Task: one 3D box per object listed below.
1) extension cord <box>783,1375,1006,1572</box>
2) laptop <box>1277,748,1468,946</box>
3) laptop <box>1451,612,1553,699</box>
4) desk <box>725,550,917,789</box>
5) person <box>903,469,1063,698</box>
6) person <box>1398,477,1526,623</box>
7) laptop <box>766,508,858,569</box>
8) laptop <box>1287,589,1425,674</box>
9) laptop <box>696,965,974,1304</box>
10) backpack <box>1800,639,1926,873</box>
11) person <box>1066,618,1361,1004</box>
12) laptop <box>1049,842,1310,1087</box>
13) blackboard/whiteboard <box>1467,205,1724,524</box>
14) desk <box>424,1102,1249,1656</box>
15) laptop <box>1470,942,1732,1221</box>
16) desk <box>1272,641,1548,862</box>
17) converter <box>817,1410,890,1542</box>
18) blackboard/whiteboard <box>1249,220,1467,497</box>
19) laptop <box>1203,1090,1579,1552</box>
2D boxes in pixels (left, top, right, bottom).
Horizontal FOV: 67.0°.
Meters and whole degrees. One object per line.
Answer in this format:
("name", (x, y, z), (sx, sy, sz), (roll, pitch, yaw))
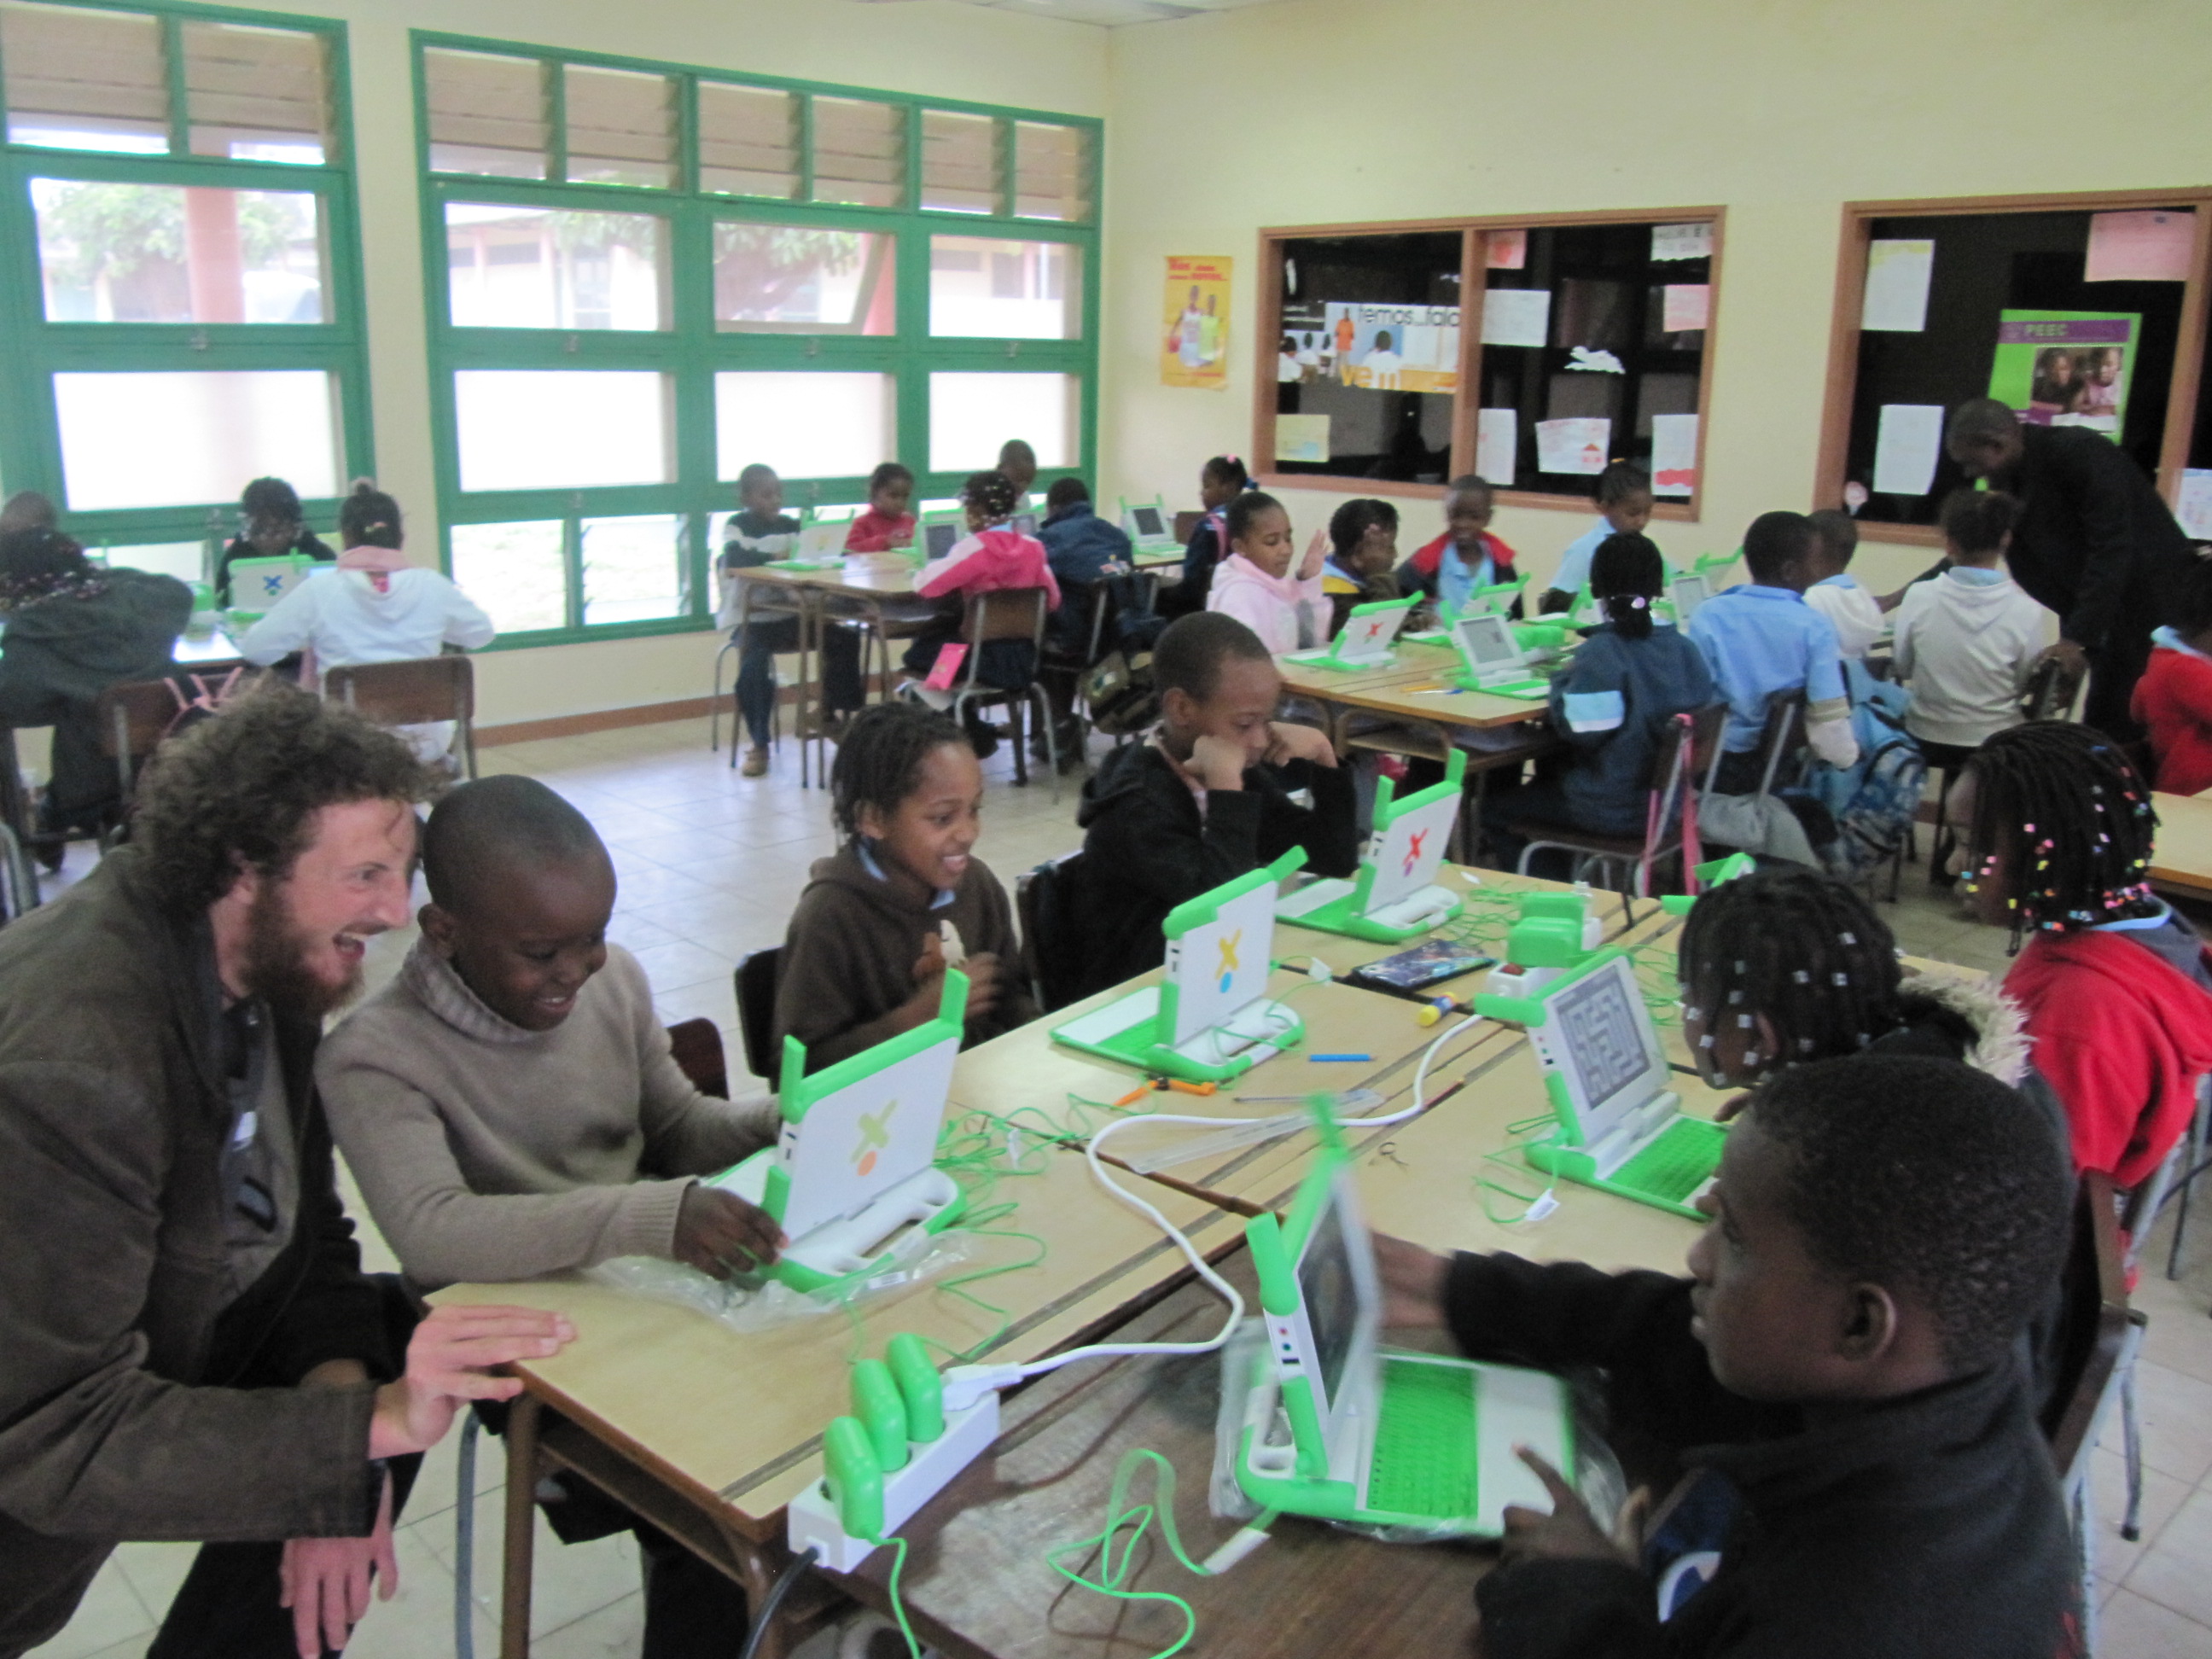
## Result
("extension cord", (-0.211, 0.628, 1.654), (0.106, 0.044, 0.195), (9, 18, 32))
("laptop", (0.568, 0.044, 3.099), (0.342, 0.364, 0.373), (13, 26, 38))
("laptop", (1.244, -0.542, 5.284), (0.291, 0.198, 0.333), (20, 24, 39))
("desk", (-1.201, -0.704, 7.221), (0.619, 0.525, 0.455), (-10, 6, -7))
("person", (-0.489, -0.937, 6.784), (0.616, 0.991, 0.592), (-8, 16, -34))
("person", (1.462, -1.087, 6.938), (0.534, 0.701, 0.409), (4, 4, -4))
("laptop", (-1.363, -1.315, 7.596), (0.283, 0.261, 0.392), (29, 29, 23))
("laptop", (0.817, -0.746, 5.559), (0.312, 0.262, 0.424), (19, 26, 38))
("laptop", (-0.368, 0.349, 2.038), (0.304, 0.313, 0.341), (6, 13, 29))
("backpack", (2.460, -0.205, 5.185), (0.575, 0.624, 0.354), (-10, 6, -36))
("person", (0.230, 0.085, 3.190), (0.554, 0.916, 0.531), (-5, 8, -21))
("laptop", (0.118, 0.194, 2.563), (0.296, 0.278, 0.320), (10, 18, 32))
("blackboard/whiteboard", (2.270, -2.161, 7.651), (1.650, 1.690, 0.072), (12, 20, 38))
("desk", (-0.285, 0.589, 1.834), (0.375, 0.335, 0.709), (19, 27, 33))
("laptop", (0.678, 0.360, 2.248), (0.303, 0.275, 0.329), (9, 23, 30))
("desk", (0.977, -0.383, 5.144), (0.826, 0.425, 0.619), (-19, 31, -40))
("converter", (-0.241, 0.619, 1.589), (0.046, 0.093, 0.103), (-1, 13, -29))
("blackboard/whiteboard", (1.286, -2.416, 8.527), (1.191, 1.260, 0.166), (10, 20, 40))
("laptop", (0.318, 0.507, 1.743), (0.374, 0.326, 0.365), (1, 8, 11))
